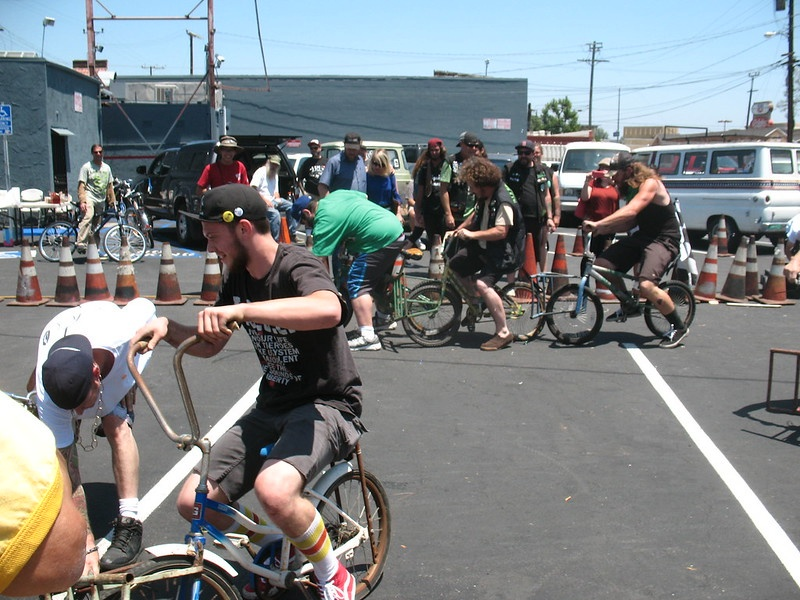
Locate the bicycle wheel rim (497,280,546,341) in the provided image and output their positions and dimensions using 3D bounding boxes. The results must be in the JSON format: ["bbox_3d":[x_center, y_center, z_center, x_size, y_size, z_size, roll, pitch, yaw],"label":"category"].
[{"bbox_3d":[1.348,0.142,8.688,0.722,0.675,0.217,14,11,42],"label":"bicycle wheel rim"}]

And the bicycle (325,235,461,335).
[{"bbox_3d":[-0.067,-0.048,8.728,1.465,0.848,0.828,3,7,2],"label":"bicycle"}]

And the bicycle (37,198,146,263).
[{"bbox_3d":[-5.485,-1.263,13.979,1.987,1.118,0.845,3,-3,3],"label":"bicycle"}]

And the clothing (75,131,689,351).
[{"bbox_3d":[1.347,-0.585,9.087,4.190,2.267,1.987,0,5,1],"label":"clothing"}]

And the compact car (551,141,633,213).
[{"bbox_3d":[5.388,-3.454,21.739,2.026,1.865,3.344,1,10,9],"label":"compact car"}]

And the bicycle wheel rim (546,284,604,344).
[{"bbox_3d":[1.898,0.176,8.530,0.676,0.705,0.148,3,13,13],"label":"bicycle wheel rim"}]

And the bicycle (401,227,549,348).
[{"bbox_3d":[0.662,-0.058,8.903,1.822,1.103,0.905,1,10,-1],"label":"bicycle"}]

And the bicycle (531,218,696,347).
[{"bbox_3d":[2.459,-0.121,8.852,2.153,1.354,1.070,-3,6,-6],"label":"bicycle"}]

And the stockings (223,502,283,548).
[{"bbox_3d":[-0.699,1.071,3.693,0.374,0.092,0.109,30,-20,-38],"label":"stockings"}]

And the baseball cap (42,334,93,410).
[{"bbox_3d":[-1.604,0.350,3.860,0.255,0.350,0.156,-24,-24,20],"label":"baseball cap"}]

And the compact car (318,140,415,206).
[{"bbox_3d":[-0.420,-3.165,19.120,3.088,1.724,1.772,1,9,-3],"label":"compact car"}]

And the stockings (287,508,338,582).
[{"bbox_3d":[-0.392,1.152,3.606,0.227,0.358,0.076,-8,10,-39],"label":"stockings"}]
